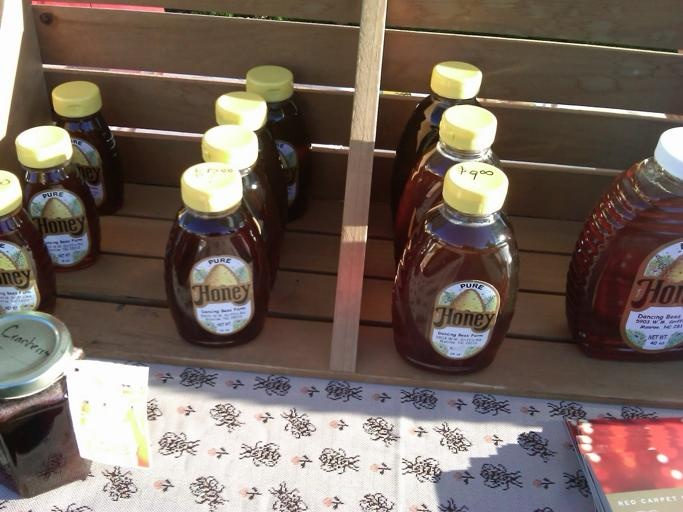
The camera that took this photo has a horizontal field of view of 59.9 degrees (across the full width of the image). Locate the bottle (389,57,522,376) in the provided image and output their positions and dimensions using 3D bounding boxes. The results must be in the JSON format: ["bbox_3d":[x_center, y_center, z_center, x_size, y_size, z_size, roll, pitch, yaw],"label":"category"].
[{"bbox_3d":[0.186,-0.063,0.975,0.193,0.406,0.454,2,50,4],"label":"bottle"}]
